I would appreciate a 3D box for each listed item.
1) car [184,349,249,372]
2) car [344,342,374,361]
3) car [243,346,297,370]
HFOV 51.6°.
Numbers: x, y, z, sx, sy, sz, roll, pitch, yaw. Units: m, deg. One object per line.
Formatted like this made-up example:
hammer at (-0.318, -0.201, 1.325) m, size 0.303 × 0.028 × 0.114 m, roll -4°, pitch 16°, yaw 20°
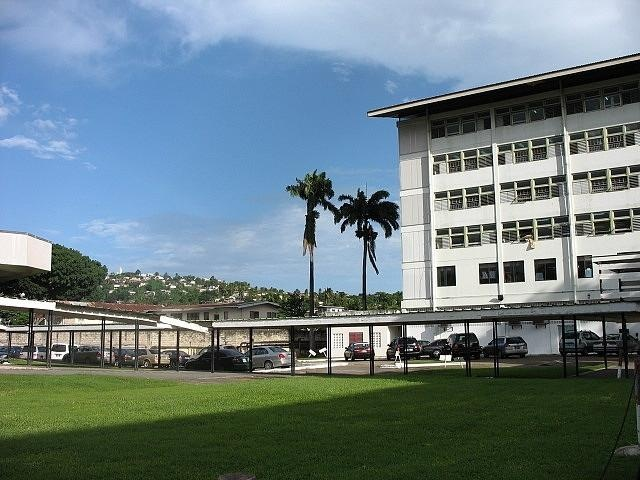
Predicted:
car at (-6.101, 7.437, 40.729) m, size 2.404 × 1.241 × 4.752 m, roll 4°, pitch -8°, yaw -37°
car at (2.860, 8.747, 51.298) m, size 1.753 × 1.273 × 3.006 m, roll -1°, pitch -6°, yaw -3°
car at (-3.127, 7.411, 41.389) m, size 2.765 × 0.939 × 1.268 m, roll -2°, pitch -7°, yaw 32°
